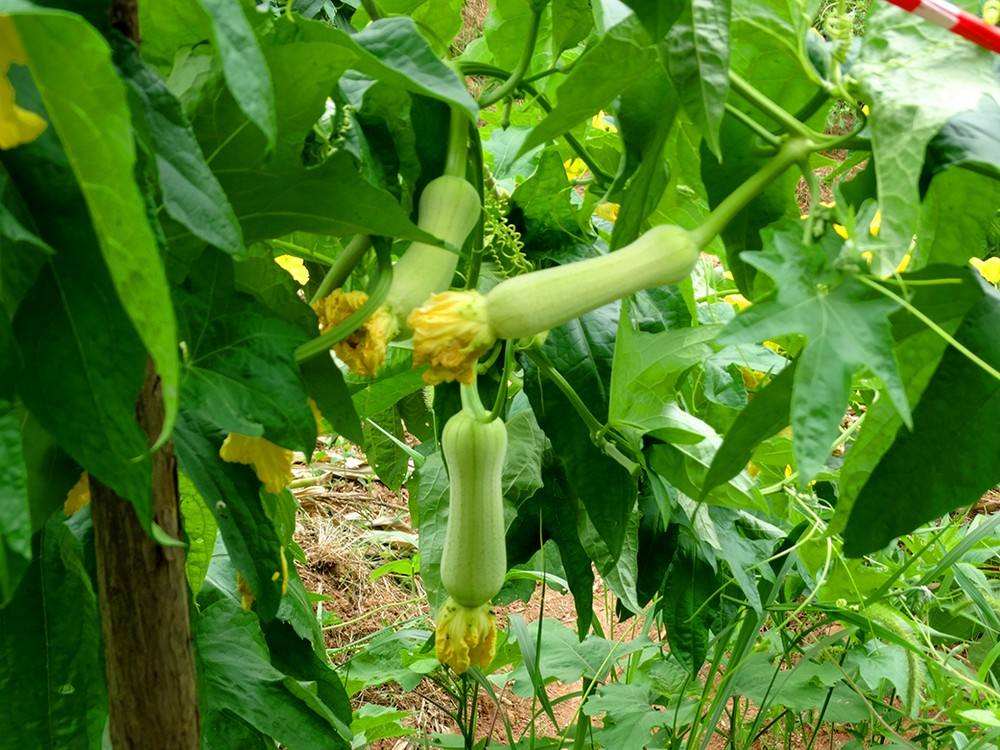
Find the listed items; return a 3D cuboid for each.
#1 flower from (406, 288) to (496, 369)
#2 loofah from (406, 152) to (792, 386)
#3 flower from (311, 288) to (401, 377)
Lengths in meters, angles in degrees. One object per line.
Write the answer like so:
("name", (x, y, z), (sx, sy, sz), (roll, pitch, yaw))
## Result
("flower", (-0.038, -0.033, 0.724), (0.052, 0.057, 0.049), (-7, 32, -42))
("loofah", (0.087, -0.055, 0.756), (0.076, 0.312, 0.102), (63, 2, 11))
("flower", (-0.119, -0.040, 0.786), (0.050, 0.063, 0.088), (-4, 30, -38))
